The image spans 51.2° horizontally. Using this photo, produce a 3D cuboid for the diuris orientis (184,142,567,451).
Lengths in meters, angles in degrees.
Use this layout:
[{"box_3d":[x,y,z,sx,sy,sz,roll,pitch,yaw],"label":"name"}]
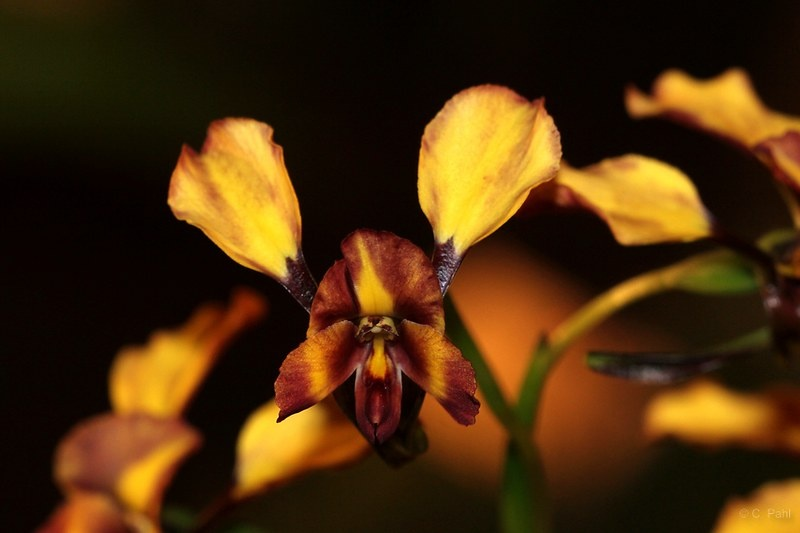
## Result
[{"box_3d":[-0.031,0.010,0.568,0.251,0.191,0.122,8,33,15],"label":"diuris orientis"}]
